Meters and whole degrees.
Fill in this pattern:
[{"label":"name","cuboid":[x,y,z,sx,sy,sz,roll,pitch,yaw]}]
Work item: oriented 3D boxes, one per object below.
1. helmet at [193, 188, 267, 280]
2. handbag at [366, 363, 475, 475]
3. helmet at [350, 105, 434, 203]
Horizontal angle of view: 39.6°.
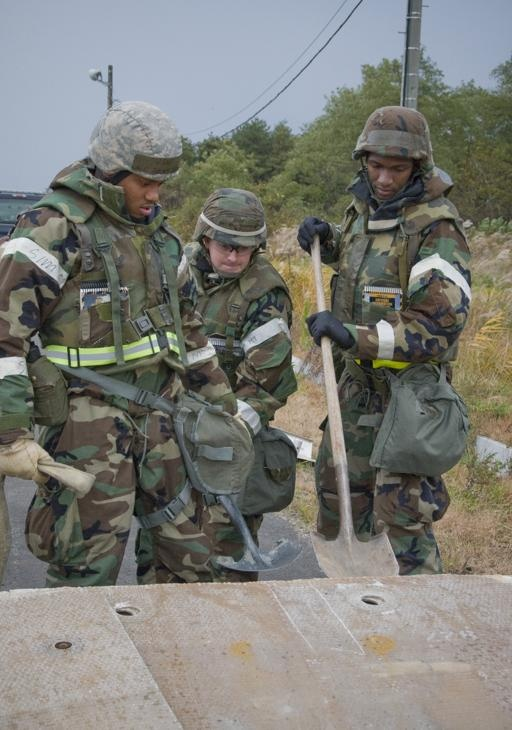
[{"label":"helmet","cuboid":[-0.183,-0.654,3.689,0.409,0.442,0.453,-1,47,-6]},{"label":"handbag","cuboid":[0.625,0.263,3.228,0.591,0.474,0.382,3,-26,3]},{"label":"helmet","cuboid":[0.669,-1.088,3.433,0.364,0.287,0.401,13,25,18]}]
